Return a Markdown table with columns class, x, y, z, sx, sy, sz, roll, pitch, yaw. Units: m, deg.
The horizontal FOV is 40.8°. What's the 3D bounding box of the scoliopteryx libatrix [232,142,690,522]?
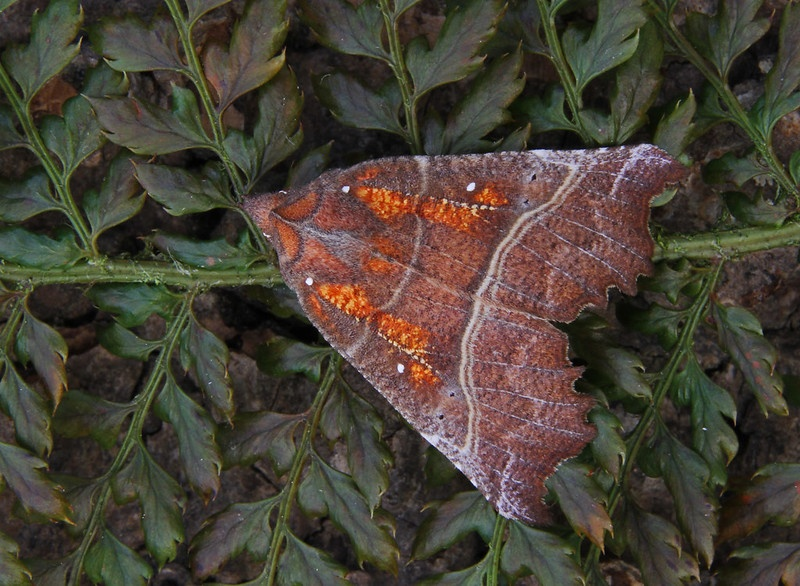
| class | x | y | z | sx | sy | sz | roll | pitch | yaw |
| --- | --- | --- | --- | --- | --- | --- | --- | --- | --- |
| scoliopteryx libatrix | 0.539 | 0.156 | 6.965 | 2.461 | 0.390 | 2.084 | -2 | 85 | 3 |
